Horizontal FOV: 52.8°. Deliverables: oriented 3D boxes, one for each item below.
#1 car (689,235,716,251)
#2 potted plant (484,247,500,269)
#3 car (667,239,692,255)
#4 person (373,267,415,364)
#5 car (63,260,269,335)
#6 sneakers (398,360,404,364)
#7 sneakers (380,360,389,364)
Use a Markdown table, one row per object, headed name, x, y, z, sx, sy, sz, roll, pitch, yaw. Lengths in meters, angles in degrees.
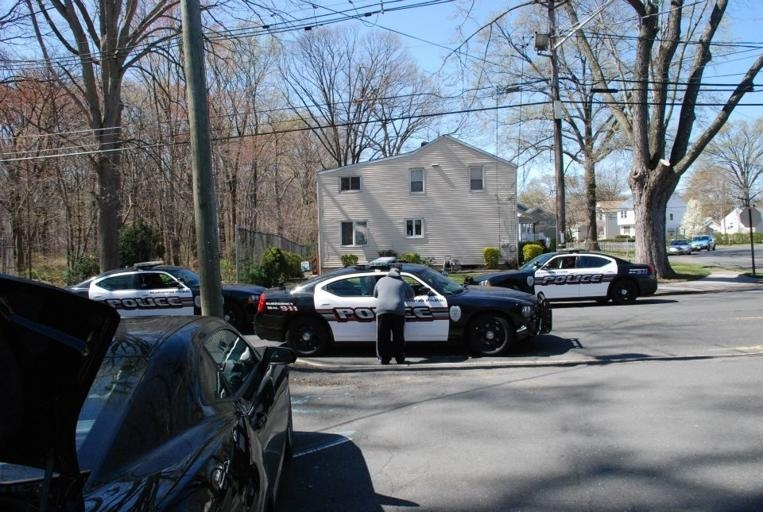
| name | x | y | z | sx | sy | sz | roll | pitch | yaw |
| --- | --- | --- | --- | --- | --- | --- | --- | --- | --- |
| car | 27.861 | -1.121 | 65.794 | 1.196 | 0.926 | 2.675 | -4 | -5 | 41 |
| potted plant | 5.619 | 0.119 | 38.021 | 0.884 | 1.195 | 0.936 | -2 | 1 | -12 |
| car | 23.364 | -0.644 | 59.575 | 0.983 | 0.722 | 2.309 | -4 | -5 | 33 |
| person | 0.268 | 1.261 | 15.683 | 0.712 | 1.816 | 0.551 | -2 | 14 | -1 |
| car | -5.282 | 0.928 | 19.112 | 4.545 | 1.611 | 2.019 | -2 | 4 | -3 |
| sneakers | 0.404 | 2.152 | 15.665 | 0.107 | 0.078 | 0.060 | 1 | 14 | 9 |
| sneakers | 0.088 | 2.169 | 15.677 | 0.166 | 0.122 | 0.094 | -1 | -4 | 3 |
